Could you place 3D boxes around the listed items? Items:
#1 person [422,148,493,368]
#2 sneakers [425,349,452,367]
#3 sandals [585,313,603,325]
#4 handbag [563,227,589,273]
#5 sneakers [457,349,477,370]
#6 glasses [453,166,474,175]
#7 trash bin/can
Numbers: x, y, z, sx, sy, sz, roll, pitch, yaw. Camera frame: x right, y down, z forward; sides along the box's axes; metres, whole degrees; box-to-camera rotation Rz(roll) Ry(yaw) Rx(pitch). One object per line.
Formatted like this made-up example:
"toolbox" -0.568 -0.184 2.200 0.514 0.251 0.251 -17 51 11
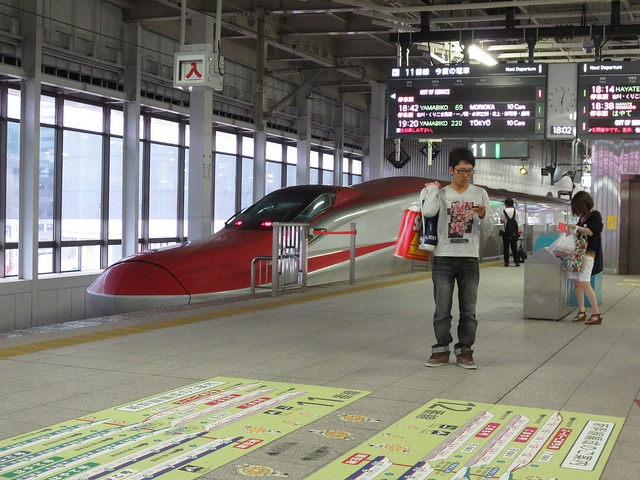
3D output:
"person" 1.357 0.168 4.779 0.684 1.846 0.376 1 0 7
"sneakers" 1.195 1.211 4.769 0.108 0.109 0.319 -6 -9 40
"sandals" 4.113 1.196 7.138 0.206 0.126 0.142 1 0 27
"handbag" 3.920 0.190 7.206 0.245 0.554 0.378 12 2 -19
"sneakers" 1.465 1.189 4.773 0.168 0.166 0.271 1 0 -11
"glasses" 1.480 -0.689 4.751 0.269 0.056 0.121 1 0 -31
"trash bin/can" 3.795 0.748 8.010 0.765 0.925 1.152 -6 -13 18
